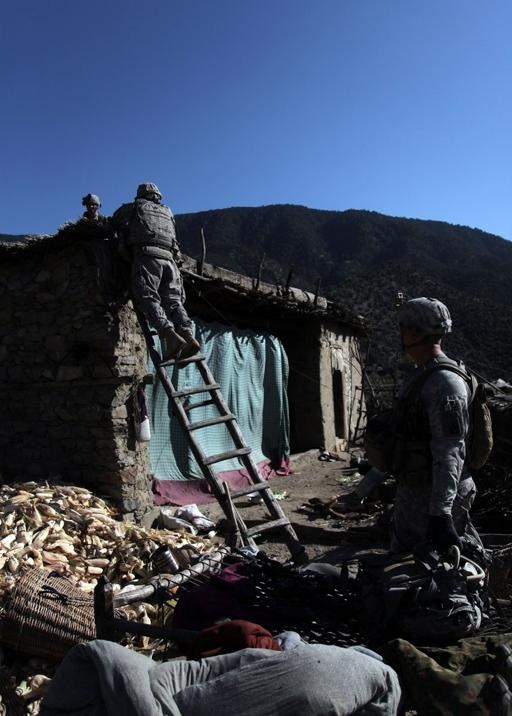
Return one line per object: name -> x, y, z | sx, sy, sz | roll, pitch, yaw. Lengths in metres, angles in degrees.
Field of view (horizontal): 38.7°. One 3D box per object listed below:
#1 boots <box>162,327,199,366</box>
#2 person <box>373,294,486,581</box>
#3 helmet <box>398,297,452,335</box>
boots -> -0.577, -0.073, 5.214 | 0.200, 0.126, 0.311 | 6, -15, -37
person -> 0.780, 0.296, 3.055 | 0.456, 1.048, 0.526 | -3, -1, -18
helmet -> 0.735, -0.176, 3.167 | 0.169, 0.140, 0.196 | 3, 23, -1
